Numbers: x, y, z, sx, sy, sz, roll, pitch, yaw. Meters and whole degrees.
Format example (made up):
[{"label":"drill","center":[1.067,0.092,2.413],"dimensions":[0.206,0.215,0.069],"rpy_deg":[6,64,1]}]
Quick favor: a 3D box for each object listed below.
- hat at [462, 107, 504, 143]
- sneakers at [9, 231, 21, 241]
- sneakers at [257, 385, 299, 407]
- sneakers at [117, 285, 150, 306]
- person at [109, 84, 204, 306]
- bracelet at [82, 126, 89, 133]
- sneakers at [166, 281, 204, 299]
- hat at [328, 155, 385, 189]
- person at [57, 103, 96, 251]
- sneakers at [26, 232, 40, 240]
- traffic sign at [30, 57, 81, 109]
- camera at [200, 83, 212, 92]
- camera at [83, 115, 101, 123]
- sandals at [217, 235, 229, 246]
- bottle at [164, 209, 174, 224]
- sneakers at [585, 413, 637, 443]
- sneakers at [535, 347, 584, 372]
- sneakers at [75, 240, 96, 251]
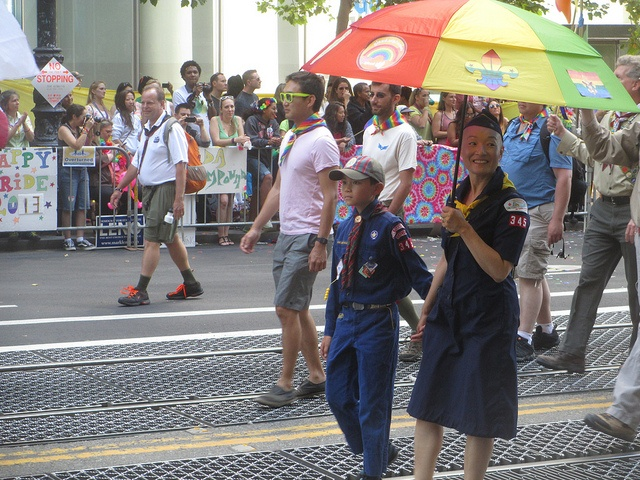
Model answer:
[{"label":"hat","center":[0.870,-0.615,4.270],"dimensions":[0.141,0.086,0.173],"rpy_deg":[9,-17,19]},{"label":"sneakers","center":[-4.915,-0.052,12.795],"dimensions":[0.165,0.143,0.128],"rpy_deg":[-2,10,-27]},{"label":"sneakers","center":[-0.325,1.171,5.998],"dimensions":[0.124,0.107,0.286],"rpy_deg":[-3,-4,42]},{"label":"sneakers","center":[-2.184,0.664,9.320],"dimensions":[0.318,0.136,0.191],"rpy_deg":[6,-4,-44]},{"label":"person","center":[-1.879,-0.531,9.517],"dimensions":[0.945,2.523,0.986],"rpy_deg":[1,10,-9]},{"label":"bracelet","center":[-3.830,-1.766,12.934],"dimensions":[0.100,0.089,0.086],"rpy_deg":[1,7,12]},{"label":"sneakers","center":[-1.642,0.621,9.775],"dimensions":[0.479,0.201,0.180],"rpy_deg":[-1,-2,-9]},{"label":"hat","center":[0.223,-0.419,4.897],"dimensions":[0.275,0.130,0.186],"rpy_deg":[9,-8,-24]},{"label":"person","center":[-3.990,-1.008,13.026],"dimensions":[0.552,2.325,0.630],"rpy_deg":[-1,10,-18]},{"label":"sneakers","center":[-4.643,-0.061,12.884],"dimensions":[0.199,0.119,0.097],"rpy_deg":[-1,10,-19]},{"label":"traffic sign","center":[-4.262,-2.508,12.827],"dimensions":[0.672,0.728,0.450],"rpy_deg":[-1,10,-19]},{"label":"camera","center":[-2.016,-2.668,14.069],"dimensions":[0.174,0.078,0.176],"rpy_deg":[1,9,-26]},{"label":"camera","center":[-3.807,-1.993,13.243],"dimensions":[0.206,0.087,0.191],"rpy_deg":[1,6,-4]},{"label":"sandals","center":[-1.719,0.008,14.057],"dimensions":[0.168,0.102,0.288],"rpy_deg":[-3,7,-17]},{"label":"bottle","center":[-1.767,-0.268,9.323],"dimensions":[0.130,0.120,0.123],"rpy_deg":[18,15,-12]},{"label":"sneakers","center":[1.923,1.222,5.387],"dimensions":[0.367,0.154,0.140],"rpy_deg":[23,0,3]},{"label":"sneakers","center":[2.084,1.049,6.996],"dimensions":[0.413,0.283,0.149],"rpy_deg":[12,-4,9]},{"label":"sneakers","center":[-3.846,0.092,13.060],"dimensions":[0.307,0.128,0.125],"rpy_deg":[6,17,0]}]
